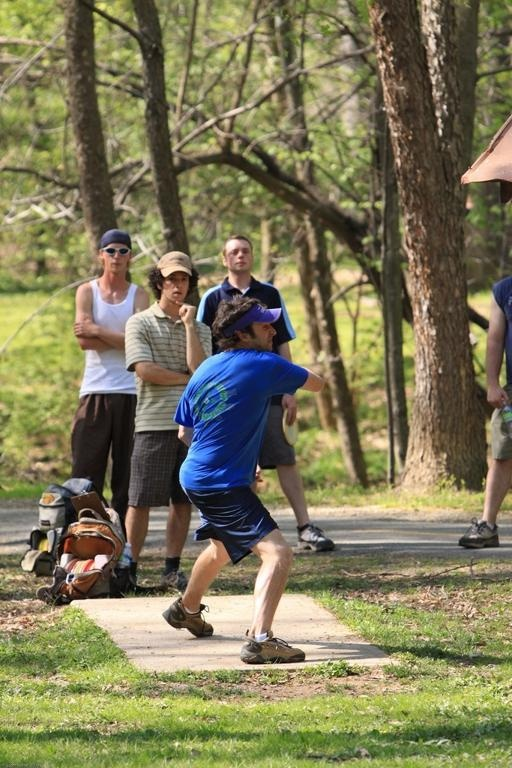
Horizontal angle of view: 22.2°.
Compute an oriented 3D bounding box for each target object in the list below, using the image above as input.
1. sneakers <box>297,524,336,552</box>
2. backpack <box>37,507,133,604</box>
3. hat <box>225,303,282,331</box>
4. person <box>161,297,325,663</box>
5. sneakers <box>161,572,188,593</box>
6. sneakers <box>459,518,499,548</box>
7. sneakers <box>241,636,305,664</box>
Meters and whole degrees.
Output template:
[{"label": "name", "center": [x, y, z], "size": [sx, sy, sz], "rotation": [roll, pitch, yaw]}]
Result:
[{"label": "sneakers", "center": [0.374, 1.040, 8.821], "size": [0.125, 0.135, 0.321], "rotation": [-3, 2, -34]}, {"label": "backpack", "center": [-1.012, 0.999, 7.506], "size": [0.504, 0.562, 0.271], "rotation": [-1, 7, -10]}, {"label": "hat", "center": [-0.014, -0.300, 6.212], "size": [0.222, 0.064, 0.131], "rotation": [-22, 4, 8]}, {"label": "person", "center": [-0.100, 0.463, 6.337], "size": [0.463, 1.764, 0.772], "rotation": [-6, 9, -38]}, {"label": "sneakers", "center": [-0.484, 1.168, 7.705], "size": [0.082, 0.082, 0.211], "rotation": [-1, 4, -25]}, {"label": "sneakers", "center": [1.372, 0.974, 8.326], "size": [0.366, 0.161, 0.114], "rotation": [0, 0, -15]}, {"label": "sneakers", "center": [0.081, 1.272, 6.254], "size": [0.371, 0.137, 0.116], "rotation": [1, -2, -15]}]
